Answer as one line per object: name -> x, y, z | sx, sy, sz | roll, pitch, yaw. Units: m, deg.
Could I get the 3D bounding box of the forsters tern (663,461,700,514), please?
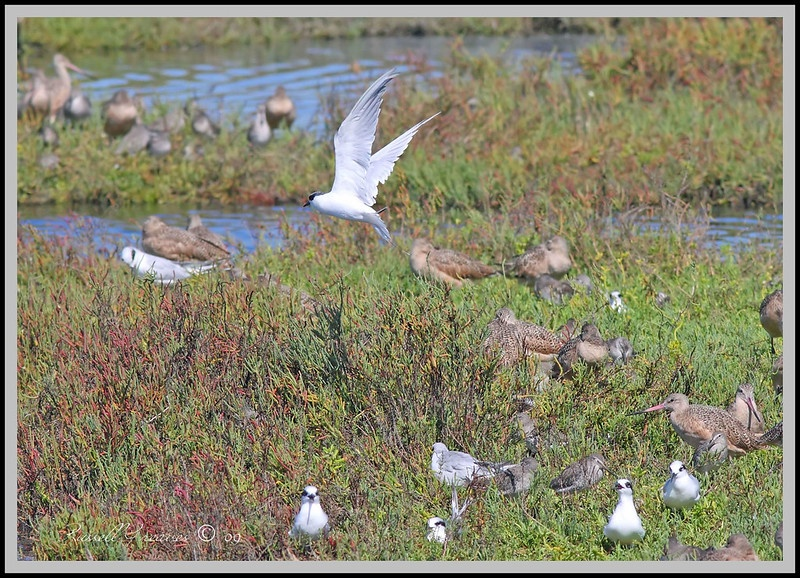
forsters tern -> 2.657, 1.828, 9.014 | 0.275, 0.421, 0.492 | -1, 24, 22

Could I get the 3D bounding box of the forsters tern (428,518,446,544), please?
forsters tern -> 0.356, 2.257, 8.904 | 0.202, 0.110, 0.235 | 4, 55, 7

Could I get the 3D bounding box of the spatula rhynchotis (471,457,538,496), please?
spatula rhynchotis -> 1.065, 1.837, 9.276 | 0.435, 0.211, 0.451 | 8, 35, 3
